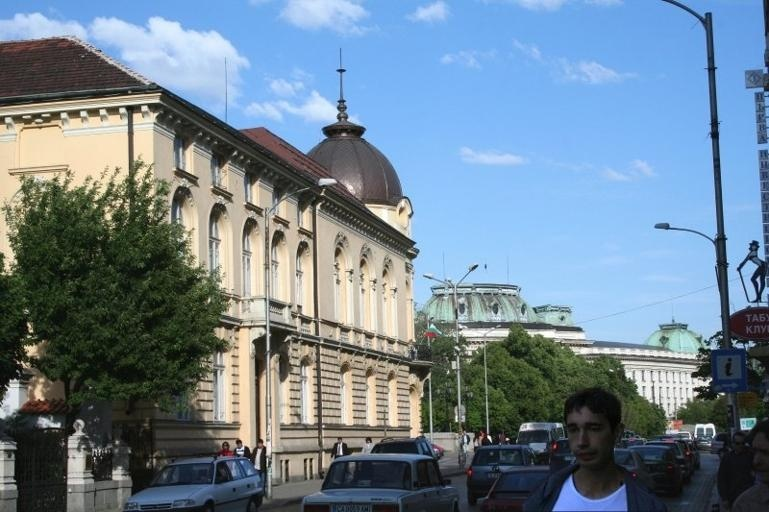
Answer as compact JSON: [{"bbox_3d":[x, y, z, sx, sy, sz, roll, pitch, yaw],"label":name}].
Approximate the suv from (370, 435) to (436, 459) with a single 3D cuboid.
[{"bbox_3d":[0.889,7.627,55.209,1.217,1.108,2.566,-7,-20,25],"label":"suv"}]
